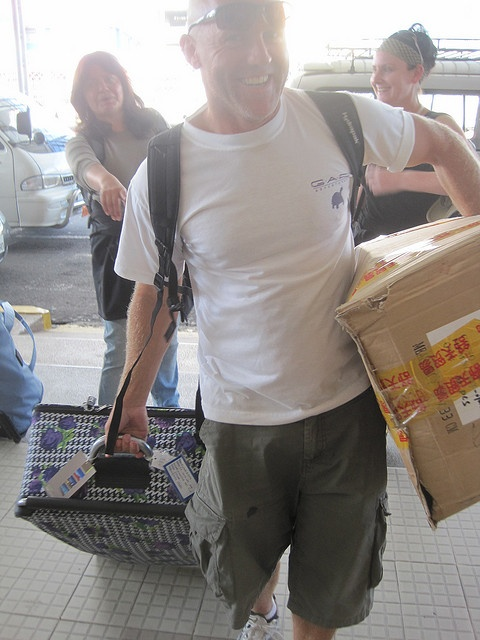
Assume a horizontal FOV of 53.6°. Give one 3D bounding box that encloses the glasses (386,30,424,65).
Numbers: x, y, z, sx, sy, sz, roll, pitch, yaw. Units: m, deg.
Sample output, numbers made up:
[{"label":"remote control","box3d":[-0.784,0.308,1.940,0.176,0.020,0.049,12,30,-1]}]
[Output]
[{"label":"glasses","box3d":[0.870,-1.417,2.486,0.162,0.100,0.194,-6,25,-10]}]
